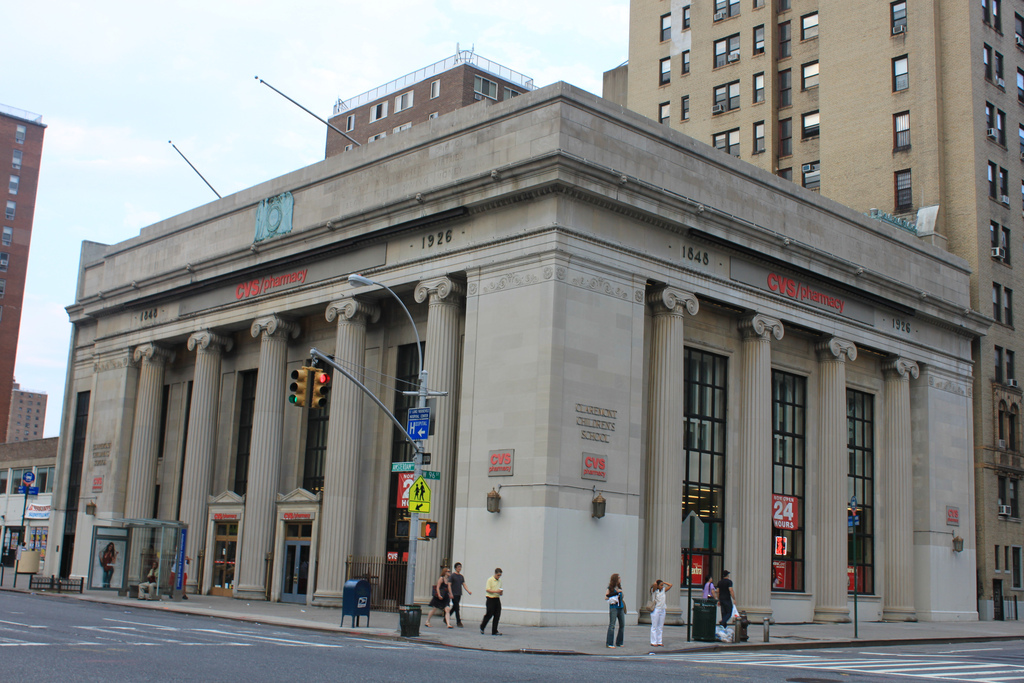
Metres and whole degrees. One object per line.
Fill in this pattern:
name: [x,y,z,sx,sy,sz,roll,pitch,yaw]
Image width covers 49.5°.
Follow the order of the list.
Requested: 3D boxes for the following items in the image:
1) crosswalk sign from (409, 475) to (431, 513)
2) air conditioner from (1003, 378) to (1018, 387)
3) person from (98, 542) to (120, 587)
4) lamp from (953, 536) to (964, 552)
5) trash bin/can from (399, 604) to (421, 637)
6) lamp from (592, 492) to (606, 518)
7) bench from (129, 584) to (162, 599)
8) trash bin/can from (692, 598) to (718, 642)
crosswalk sign: [-3.848,6.345,45.755,0.843,1.506,0.534,4,-19,-10]
air conditioner: [32.984,2.807,73.049,0.573,0.371,0.562,5,-8,-37]
person: [-23.578,13.050,64.609,0.951,2.630,0.605,8,-19,-19]
lamp: [26.688,12.098,65.910,0.906,0.901,0.405,17,-24,-39]
trash bin/can: [-4.037,11.140,44.097,0.766,1.266,0.488,6,-19,-15]
lamp: [4.074,7.605,51.053,0.788,1.217,0.442,7,-19,-18]
bench: [-19.249,13.379,58.797,1.932,0.622,0.981,-11,-17,44]
trash bin/can: [8.139,11.714,46.467,0.950,1.688,0.872,-3,-19,12]
